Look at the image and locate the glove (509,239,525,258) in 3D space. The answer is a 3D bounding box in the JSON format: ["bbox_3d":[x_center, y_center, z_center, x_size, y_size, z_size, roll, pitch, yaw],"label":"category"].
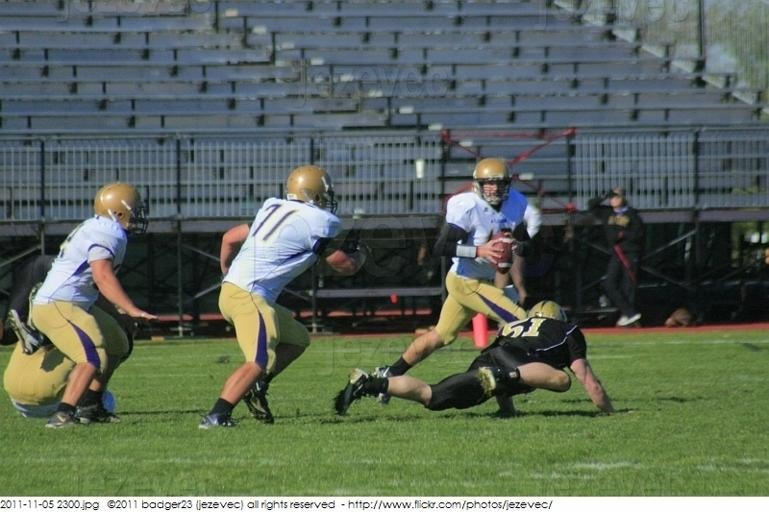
[{"bbox_3d":[1.976,-0.109,26.554,0.224,0.185,0.360,9,41,2],"label":"glove"}]

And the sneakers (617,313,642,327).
[{"bbox_3d":[4.300,1.129,31.628,0.582,0.233,0.201,-2,36,24],"label":"sneakers"}]

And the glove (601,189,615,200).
[{"bbox_3d":[4.093,-1.083,31.953,0.257,0.183,0.191,6,-4,-42],"label":"glove"}]

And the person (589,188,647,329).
[{"bbox_3d":[4.178,0.036,31.684,1.099,2.421,0.576,6,6,26],"label":"person"}]

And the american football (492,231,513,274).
[{"bbox_3d":[1.765,-0.042,26.538,0.330,0.579,0.259,4,5,5],"label":"american football"}]

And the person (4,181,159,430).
[{"bbox_3d":[-4.345,0.711,25.969,1.583,3.525,0.900,3,5,-7],"label":"person"}]

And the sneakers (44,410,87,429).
[{"bbox_3d":[-4.639,2.379,25.892,0.537,0.172,0.242,4,-2,-14],"label":"sneakers"}]

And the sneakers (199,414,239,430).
[{"bbox_3d":[-2.404,2.385,25.683,0.603,0.208,0.194,3,2,-4],"label":"sneakers"}]
